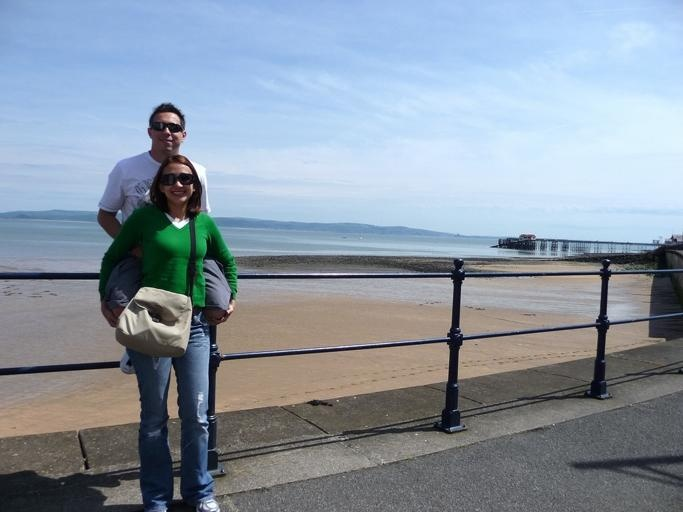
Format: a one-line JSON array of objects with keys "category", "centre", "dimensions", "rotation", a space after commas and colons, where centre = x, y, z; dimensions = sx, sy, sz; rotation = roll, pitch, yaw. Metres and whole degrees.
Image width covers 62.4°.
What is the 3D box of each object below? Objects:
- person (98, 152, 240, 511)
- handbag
[{"category": "person", "centre": [-1.105, 0.499, 3.694], "dimensions": [0.888, 2.300, 0.600], "rotation": [-1, 9, -19]}, {"category": "handbag", "centre": [-1.152, 0.389, 3.437], "dimensions": [0.421, 0.351, 0.209], "rotation": [10, -15, -18]}]
